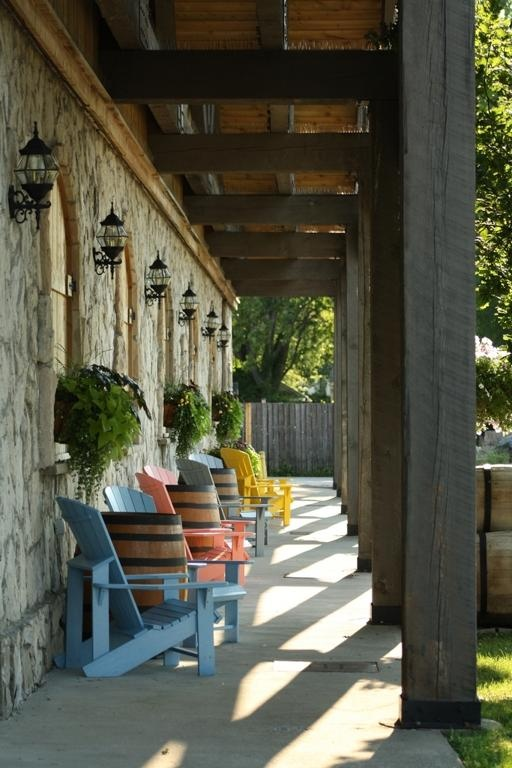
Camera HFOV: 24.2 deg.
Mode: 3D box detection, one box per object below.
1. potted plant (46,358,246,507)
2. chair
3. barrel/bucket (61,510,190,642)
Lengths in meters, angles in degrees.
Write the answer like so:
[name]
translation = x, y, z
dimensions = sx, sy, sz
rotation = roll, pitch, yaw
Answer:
[potted plant]
translation = -0.700, 0.157, 6.097
dimensions = 0.674, 0.550, 0.364
rotation = -20, 14, -41
[chair]
translation = -0.485, 0.893, 5.573
dimensions = 0.836, 0.788, 1.003
rotation = -2, -3, 6
[barrel/bucket]
translation = -0.628, 0.832, 5.662
dimensions = 0.515, 0.688, 0.597
rotation = 0, -6, -14
